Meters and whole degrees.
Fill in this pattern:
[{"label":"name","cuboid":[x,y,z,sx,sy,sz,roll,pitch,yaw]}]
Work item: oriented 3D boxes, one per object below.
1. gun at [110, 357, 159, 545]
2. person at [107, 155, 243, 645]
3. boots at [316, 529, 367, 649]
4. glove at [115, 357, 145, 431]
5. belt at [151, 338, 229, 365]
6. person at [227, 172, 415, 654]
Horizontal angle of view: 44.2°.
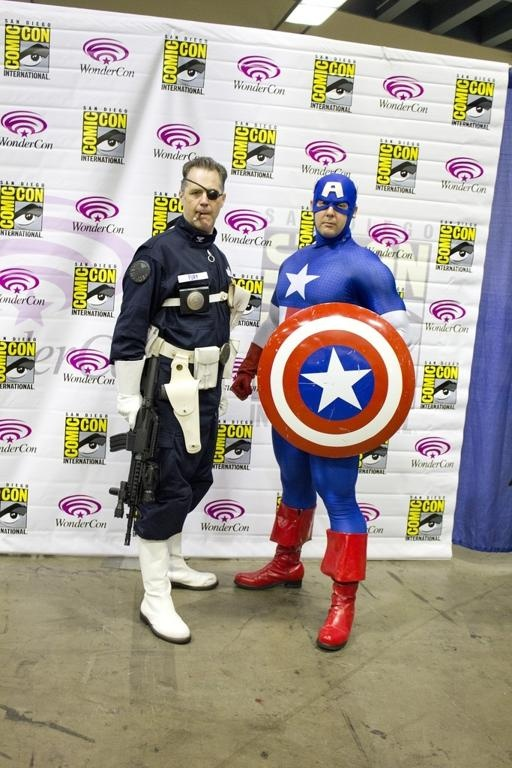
[{"label":"gun","cuboid":[-0.415,0.225,2.155,0.155,0.640,0.280,4,4,-13]},{"label":"person","cuboid":[-0.250,0.046,2.272,0.316,1.697,0.514,9,6,39]},{"label":"boots","cuboid":[0.312,0.736,2.317,0.157,0.408,0.254,6,4,7]},{"label":"glove","cuboid":[-0.437,0.024,2.180,0.082,0.268,0.094,-1,12,-3]},{"label":"belt","cuboid":[-0.246,-0.110,2.217,0.145,0.055,0.137,6,2,15]},{"label":"person","cuboid":[0.232,0.064,2.483,0.350,1.713,0.700,3,5,-29]}]
